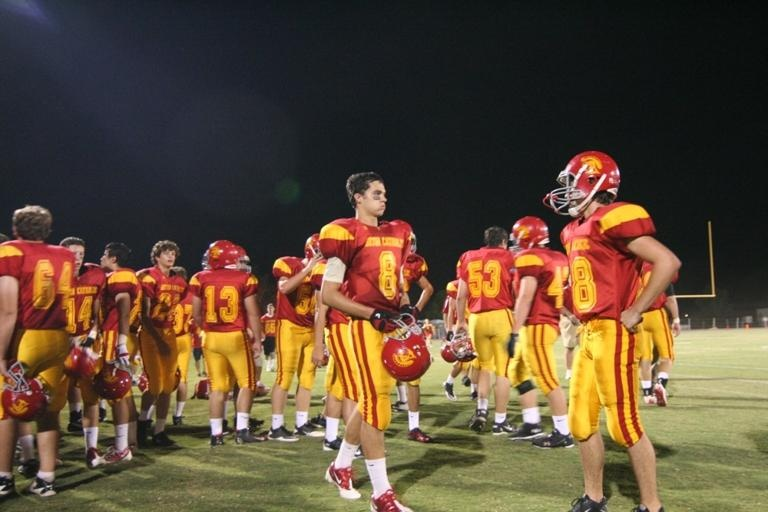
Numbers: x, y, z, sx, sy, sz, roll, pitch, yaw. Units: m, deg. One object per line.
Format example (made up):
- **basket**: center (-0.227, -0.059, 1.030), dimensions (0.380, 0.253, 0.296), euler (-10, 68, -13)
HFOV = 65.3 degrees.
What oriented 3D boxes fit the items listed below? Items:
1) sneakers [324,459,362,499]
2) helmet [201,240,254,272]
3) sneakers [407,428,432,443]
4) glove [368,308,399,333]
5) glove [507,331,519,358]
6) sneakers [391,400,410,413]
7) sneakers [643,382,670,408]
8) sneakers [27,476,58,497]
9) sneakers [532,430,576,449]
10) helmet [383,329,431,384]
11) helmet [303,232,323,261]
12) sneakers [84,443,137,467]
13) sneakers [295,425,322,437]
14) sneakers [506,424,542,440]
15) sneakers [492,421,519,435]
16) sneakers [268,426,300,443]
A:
- **sneakers**: center (-0.460, 2.222, 6.072), dimensions (0.518, 0.226, 0.185), euler (28, -16, 42)
- **helmet**: center (-2.097, 0.024, 7.904), dimensions (0.528, 0.415, 0.396), euler (-5, 2, -15)
- **sneakers**: center (0.464, 2.393, 7.991), dimensions (0.342, 0.151, 0.127), euler (-6, -8, 38)
- **glove**: center (-0.008, 0.603, 5.609), dimensions (0.180, 0.109, 0.242), euler (-4, -19, 18)
- **glove**: center (1.310, 0.905, 6.152), dimensions (0.063, 0.217, 0.163), euler (6, 3, 9)
- **sneakers**: center (0.284, 2.618, 10.358), dimensions (0.130, 0.154, 0.392), euler (-4, -19, 13)
- **sneakers**: center (4.434, 2.286, 9.751), dimensions (0.219, 0.274, 0.609), euler (0, -24, 14)
- **sneakers**: center (-3.613, 2.400, 6.280), dimensions (0.350, 0.150, 0.132), euler (7, -3, 18)
- **sneakers**: center (2.089, 2.260, 7.400), dimensions (0.475, 0.215, 0.206), euler (1, -12, 3)
- **helmet**: center (0.197, 0.980, 5.840), dimensions (0.501, 0.470, 0.383), euler (3, -10, -1)
- **helmet**: center (-0.874, -0.100, 7.415), dimensions (0.251, 0.310, 0.304), euler (2, 16, -29)
- **sneakers**: center (-3.334, 2.402, 7.232), dimensions (0.629, 0.249, 0.218), euler (16, -15, -27)
- **sneakers**: center (-1.072, 2.465, 8.448), dimensions (0.435, 0.173, 0.157), euler (1, -9, 1)
- **sneakers**: center (1.794, 2.328, 7.846), dimensions (0.498, 0.231, 0.191), euler (-13, -30, 27)
- **sneakers**: center (1.664, 2.355, 8.229), dimensions (0.378, 0.158, 0.144), euler (4, -11, -25)
- **sneakers**: center (-1.396, 2.437, 8.194), dimensions (0.449, 0.177, 0.179), euler (2, -10, 5)
